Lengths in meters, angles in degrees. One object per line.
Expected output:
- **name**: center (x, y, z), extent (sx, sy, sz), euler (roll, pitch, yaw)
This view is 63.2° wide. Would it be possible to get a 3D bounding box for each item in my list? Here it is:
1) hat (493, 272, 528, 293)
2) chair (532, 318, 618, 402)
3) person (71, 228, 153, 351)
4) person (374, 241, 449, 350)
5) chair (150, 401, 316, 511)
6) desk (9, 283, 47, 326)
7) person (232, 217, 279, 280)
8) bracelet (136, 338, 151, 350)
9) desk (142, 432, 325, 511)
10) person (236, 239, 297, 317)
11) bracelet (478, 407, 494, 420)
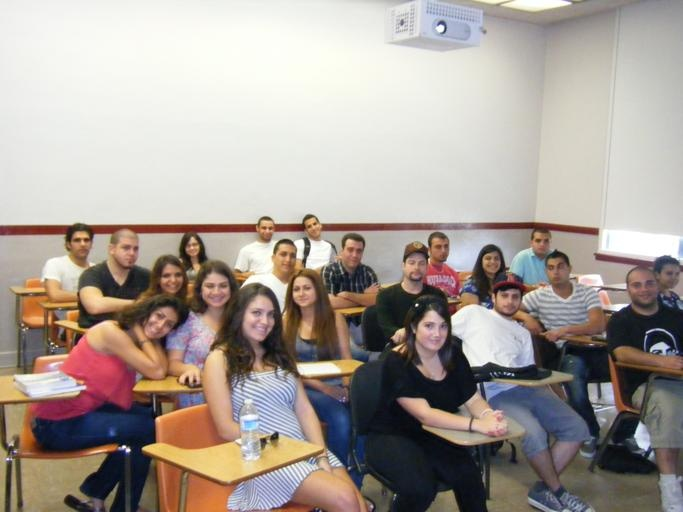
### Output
- **hat**: center (1.289, 0.183, 4.274), extent (0.208, 0.154, 0.347), euler (3, -9, 10)
- **chair**: center (2.009, 0.884, 4.958), extent (0.654, 0.838, 0.615), euler (0, -5, -26)
- **person**: center (-1.928, 0.262, 4.841), extent (0.559, 0.995, 0.710), euler (12, 10, 42)
- **person**: center (0.603, 0.352, 4.726), extent (0.670, 0.979, 0.598), euler (4, 10, 11)
- **chair**: center (-0.550, 0.944, 2.725), extent (0.579, 0.476, 0.603), euler (-5, -4, 43)
- **desk**: center (-3.406, 0.550, 6.059), extent (0.320, 0.526, 1.100), euler (-1, 6, -31)
- **person**: center (-1.042, -0.090, 7.525), extent (0.904, 0.865, 0.456), euler (-1, 9, -25)
- **bracelet**: center (-1.249, 0.555, 3.506), extent (0.060, 0.046, 0.062), euler (-6, 3, 1)
- **desk**: center (-0.518, 0.927, 2.556), extent (0.464, 0.293, 0.475), euler (3, 2, 38)
- **person**: center (-0.560, 0.198, 5.261), extent (0.801, 0.748, 0.298), euler (5, 6, -21)
- **bracelet**: center (0.850, 0.935, 3.292), extent (0.077, 0.030, 0.060), euler (-9, -4, 35)
